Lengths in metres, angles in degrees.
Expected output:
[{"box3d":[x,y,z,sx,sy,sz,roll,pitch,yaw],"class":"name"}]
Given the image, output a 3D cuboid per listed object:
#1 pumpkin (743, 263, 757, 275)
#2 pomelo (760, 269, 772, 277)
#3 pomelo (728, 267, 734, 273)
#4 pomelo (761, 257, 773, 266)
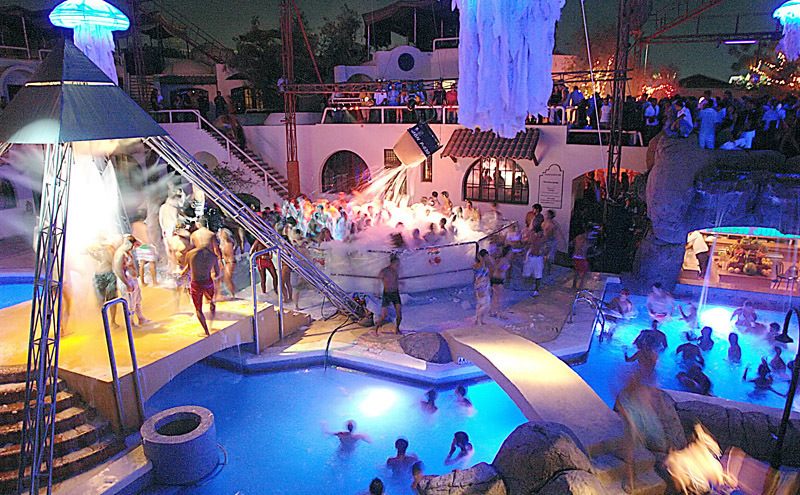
[{"box3d":[10.534,0.662,15.714,0.332,0.417,0.354,-9,29,18],"class":"pumpkin"},{"box3d":[10.952,0.758,15.529,0.213,0.089,0.210,-37,27,-26],"class":"pomelo"},{"box3d":[10.149,0.687,15.944,0.144,0.082,0.147,-7,21,17],"class":"pomelo"},{"box3d":[11.076,0.404,15.732,0.256,0.104,0.263,-4,15,1],"class":"pomelo"}]
